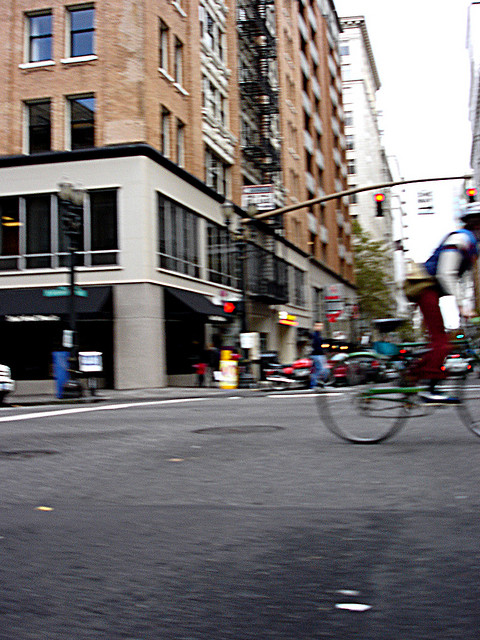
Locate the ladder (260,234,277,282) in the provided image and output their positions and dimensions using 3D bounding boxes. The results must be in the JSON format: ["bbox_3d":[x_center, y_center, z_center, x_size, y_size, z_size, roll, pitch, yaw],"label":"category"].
[{"bbox_3d":[1.097,-2.424,37.122,0.342,1.899,2.024,-4,-5,11],"label":"ladder"}]

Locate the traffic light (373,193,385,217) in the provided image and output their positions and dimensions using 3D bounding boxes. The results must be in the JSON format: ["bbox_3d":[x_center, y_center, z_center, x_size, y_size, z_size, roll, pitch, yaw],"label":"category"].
[{"bbox_3d":[3.323,-2.742,22.417,0.233,0.552,0.830,-3,-4,10],"label":"traffic light"}]

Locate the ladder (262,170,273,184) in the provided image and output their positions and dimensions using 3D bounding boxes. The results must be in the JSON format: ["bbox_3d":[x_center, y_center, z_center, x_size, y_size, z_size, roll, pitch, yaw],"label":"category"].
[{"bbox_3d":[1.116,-5.799,38.227,0.698,0.573,0.355,3,13,12],"label":"ladder"}]

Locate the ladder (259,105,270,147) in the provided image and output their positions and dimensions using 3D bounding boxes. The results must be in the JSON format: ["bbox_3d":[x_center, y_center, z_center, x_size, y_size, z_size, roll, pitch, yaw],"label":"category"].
[{"bbox_3d":[0.957,-7.428,36.702,0.461,1.612,0.996,-3,-5,2],"label":"ladder"}]

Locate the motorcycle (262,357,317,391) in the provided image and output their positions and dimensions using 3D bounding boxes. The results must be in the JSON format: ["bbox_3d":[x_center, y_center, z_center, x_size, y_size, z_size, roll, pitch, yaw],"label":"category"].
[{"bbox_3d":[1.131,1.317,22.690,1.292,0.614,0.597,-3,-1,-10],"label":"motorcycle"}]
